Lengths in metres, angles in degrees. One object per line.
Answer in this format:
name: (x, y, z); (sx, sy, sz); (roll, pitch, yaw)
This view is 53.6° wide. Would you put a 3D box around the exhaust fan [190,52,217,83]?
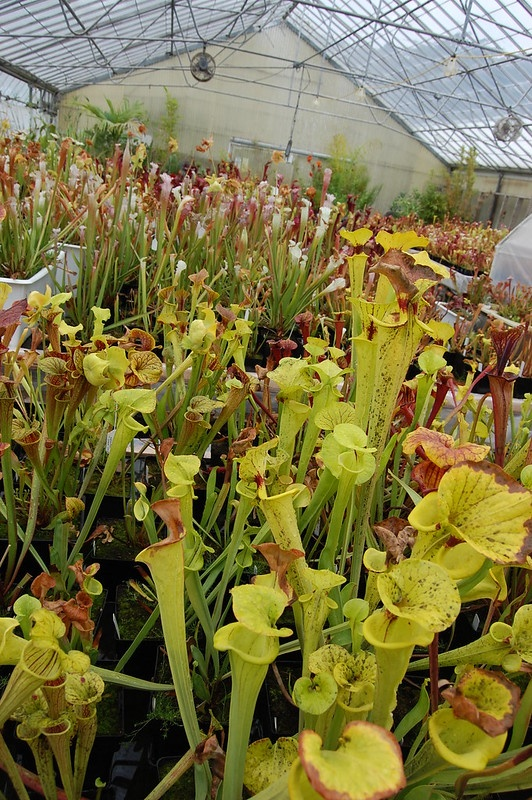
exhaust fan: (-2.159, -11.327, 17.764); (0.682, 0.888, 1.453); (8, 16, -7)
